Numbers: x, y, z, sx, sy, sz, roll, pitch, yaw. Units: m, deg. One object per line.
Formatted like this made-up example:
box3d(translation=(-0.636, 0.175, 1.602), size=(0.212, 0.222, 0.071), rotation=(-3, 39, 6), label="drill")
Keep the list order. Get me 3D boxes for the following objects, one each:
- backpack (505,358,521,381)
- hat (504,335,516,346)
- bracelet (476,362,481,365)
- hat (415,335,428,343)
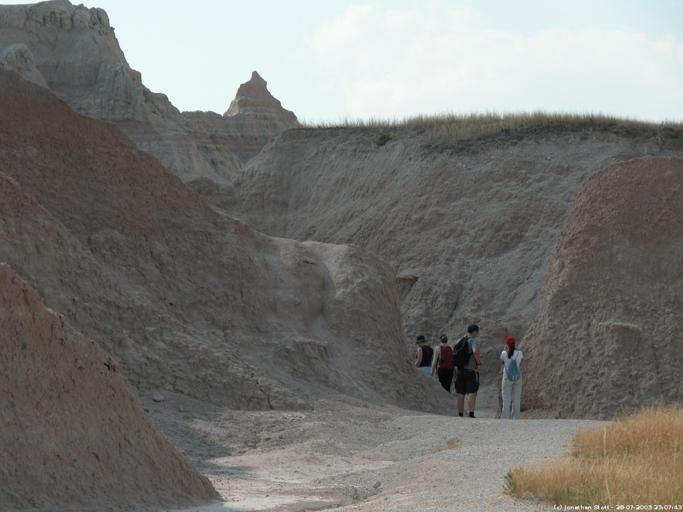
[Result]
box3d(translation=(3.572, 2.338, 32.257), size=(0.423, 0.600, 0.329), rotation=(-1, 8, 7), label="backpack")
box3d(translation=(3.538, 1.802, 32.383), size=(0.279, 0.296, 0.366), rotation=(2, 5, 6), label="hat")
box3d(translation=(2.868, 2.236, 32.435), size=(0.142, 0.047, 0.143), rotation=(0, -2, 18), label="bracelet")
box3d(translation=(1.816, 1.871, 35.015), size=(0.222, 0.130, 0.256), rotation=(0, -6, -3), label="hat")
